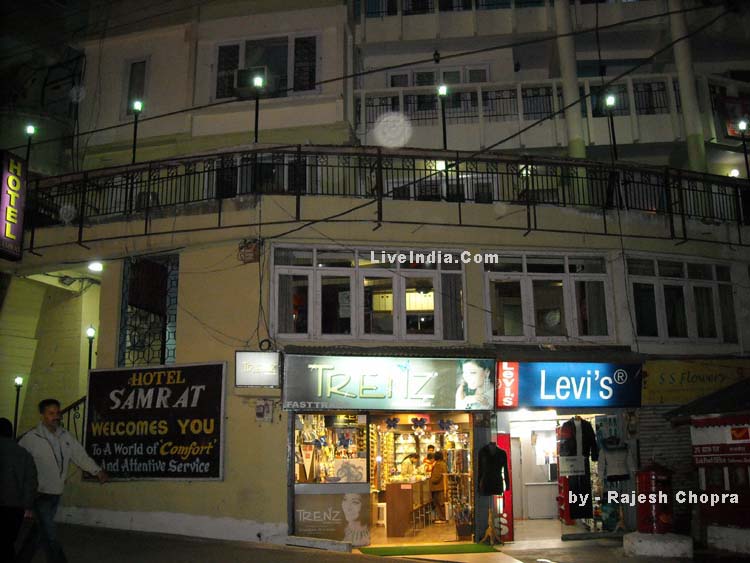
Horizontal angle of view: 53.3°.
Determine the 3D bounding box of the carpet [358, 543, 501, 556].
[{"bbox_3d":[1.316,6.301,17.676,3.088,0.112,1.019,3,-12,-12],"label":"carpet"}]
